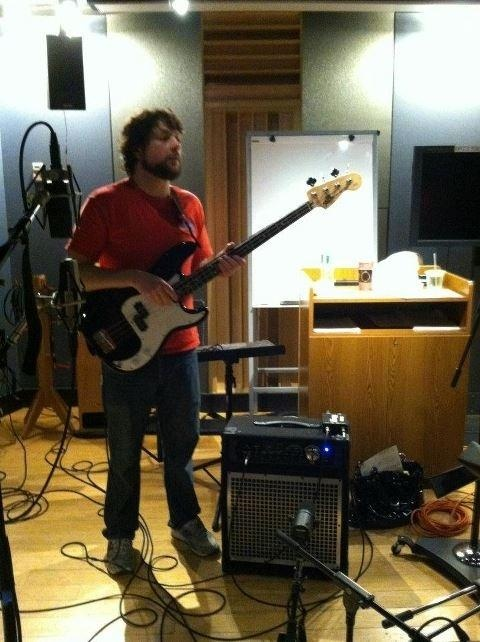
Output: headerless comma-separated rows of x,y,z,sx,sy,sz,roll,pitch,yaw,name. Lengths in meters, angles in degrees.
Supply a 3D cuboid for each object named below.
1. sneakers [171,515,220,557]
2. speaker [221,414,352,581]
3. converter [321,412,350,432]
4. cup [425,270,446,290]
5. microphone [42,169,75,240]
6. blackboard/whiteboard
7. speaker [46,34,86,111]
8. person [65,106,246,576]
-0.182,0.862,2.401,0.094,0.114,0.249,0,0,-44,sneakers
0.185,0.610,2.287,0.447,0.622,0.390,1,19,7,speaker
0.345,0.364,2.118,0.065,0.017,0.070,5,35,-1,converter
1.000,-0.207,2.983,0.078,0.084,0.099,0,-2,6,cup
-0.552,-0.353,1.785,0.079,0.200,0.281,-3,9,-17,microphone
0.490,-0.722,3.603,0.702,1.011,0.174,7,51,20,blackboard/whiteboard
-0.885,-1.256,2.984,0.175,0.334,0.198,-3,9,-18,speaker
-0.274,0.107,2.158,0.542,1.723,0.490,-4,11,-30,person
